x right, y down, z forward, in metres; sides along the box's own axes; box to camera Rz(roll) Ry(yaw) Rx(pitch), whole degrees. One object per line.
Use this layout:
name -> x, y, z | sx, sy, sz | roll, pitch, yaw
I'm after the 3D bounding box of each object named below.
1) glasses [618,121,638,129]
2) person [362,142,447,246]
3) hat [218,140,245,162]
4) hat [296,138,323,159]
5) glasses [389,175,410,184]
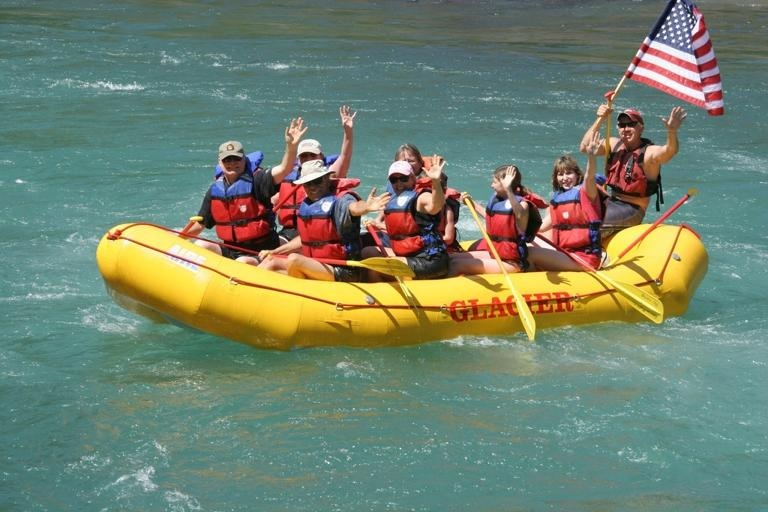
glasses -> 3.565, -1.926, 14.393 | 0.234, 0.111, 0.115 | -1, 31, -47
person -> 0.394, -1.019, 13.512 | 1.355, 0.578, 1.671 | -1, 31, 10
hat -> -2.095, -1.437, 13.603 | 0.440, 0.179, 0.463 | -3, -6, -5
hat -> -1.024, -1.503, 13.844 | 0.347, 0.127, 0.346 | -2, -9, 4
glasses -> 0.202, -1.010, 13.021 | 0.183, 0.033, 0.141 | -3, -18, 12
